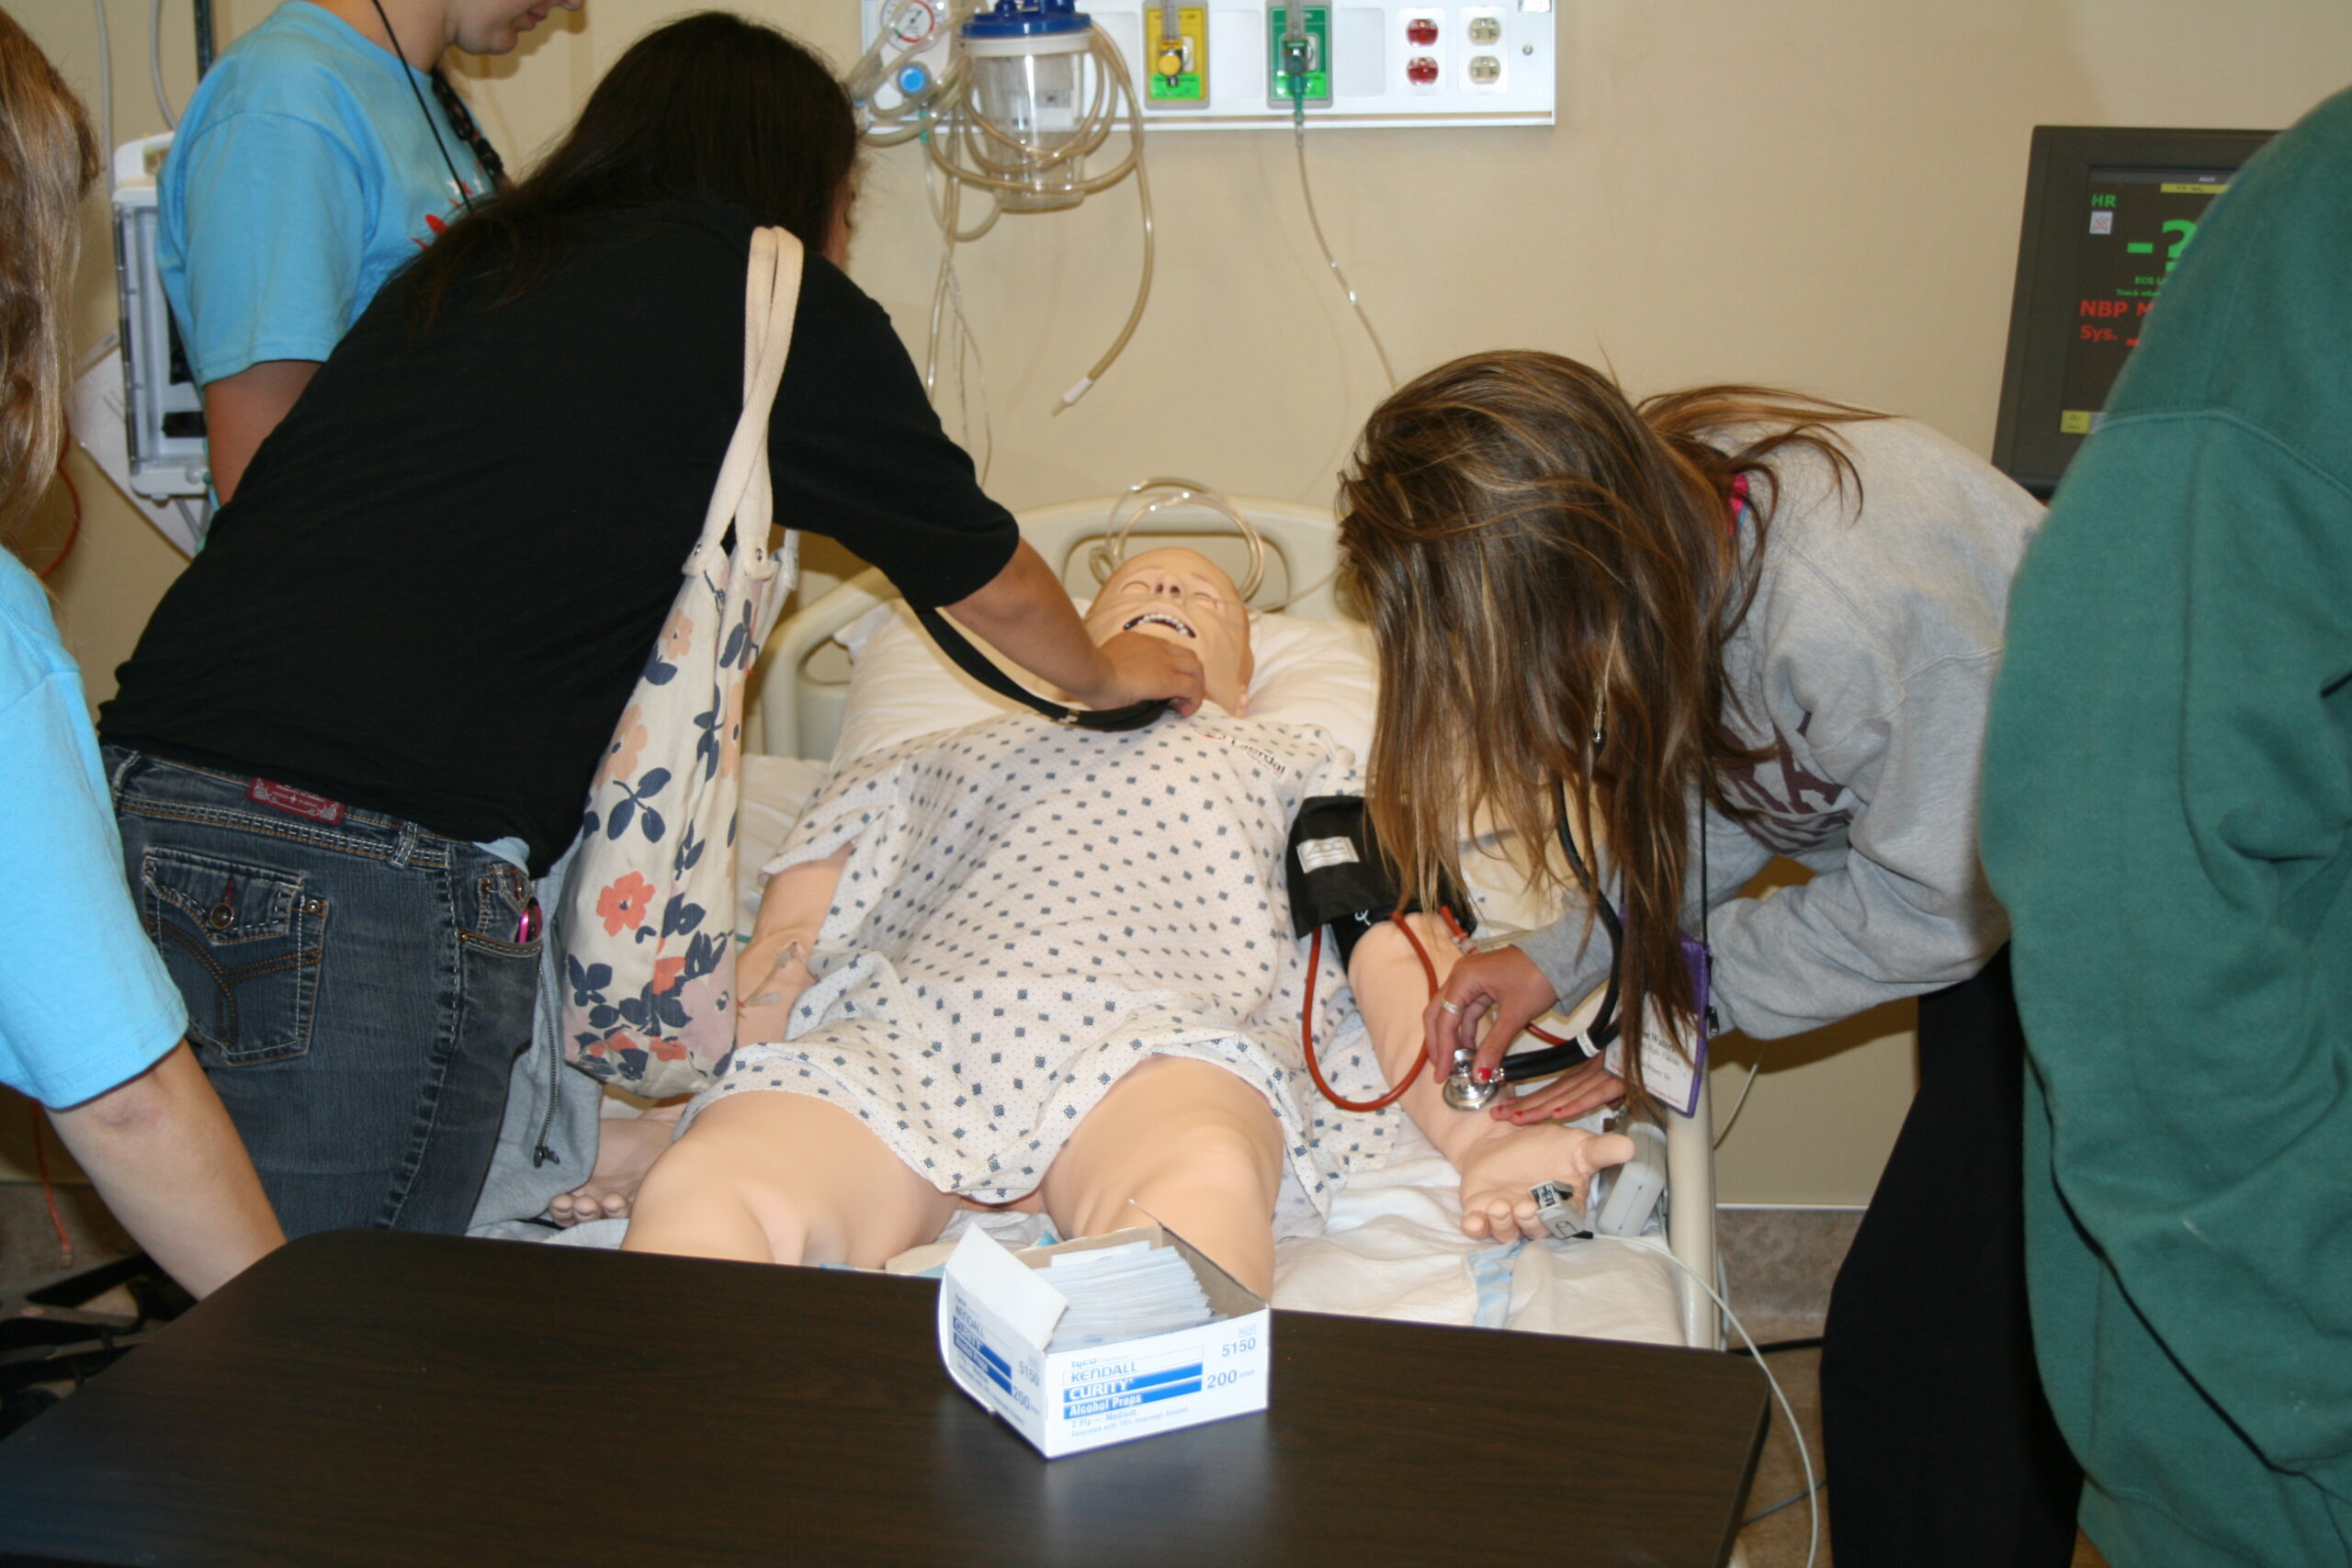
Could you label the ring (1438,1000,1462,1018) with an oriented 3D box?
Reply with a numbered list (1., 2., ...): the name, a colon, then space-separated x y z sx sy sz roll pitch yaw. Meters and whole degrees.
1. ring: 0.336 0.277 2.446 0.019 0.018 0.005 29 1 -6
